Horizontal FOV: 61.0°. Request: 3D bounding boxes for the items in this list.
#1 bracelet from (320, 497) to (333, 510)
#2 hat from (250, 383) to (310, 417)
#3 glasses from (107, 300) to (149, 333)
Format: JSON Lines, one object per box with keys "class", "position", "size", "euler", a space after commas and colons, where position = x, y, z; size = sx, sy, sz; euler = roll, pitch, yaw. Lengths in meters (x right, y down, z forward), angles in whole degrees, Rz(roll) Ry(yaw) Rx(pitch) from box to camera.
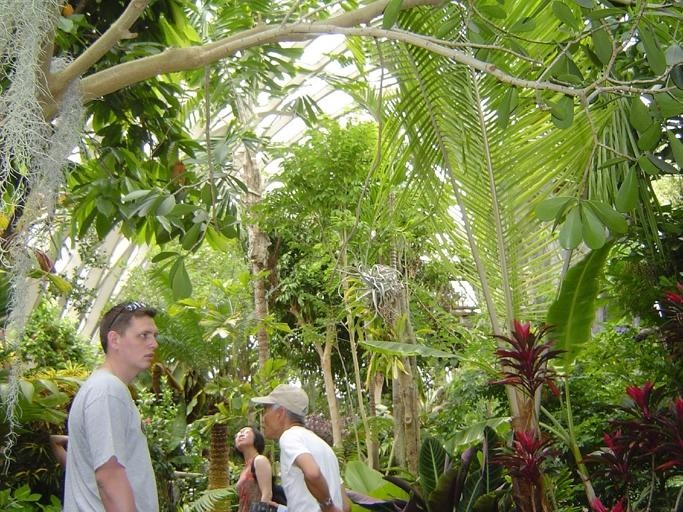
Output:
{"class": "bracelet", "position": [-0.073, 1.266, 2.965], "size": [0.055, 0.059, 0.058], "euler": [0, -20, -6]}
{"class": "hat", "position": [-0.357, 0.839, 3.370], "size": [0.270, 0.156, 0.183], "euler": [8, -14, 5]}
{"class": "glasses", "position": [-0.925, 0.247, 2.521], "size": [0.133, 0.041, 0.107], "euler": [-45, -24, 19]}
